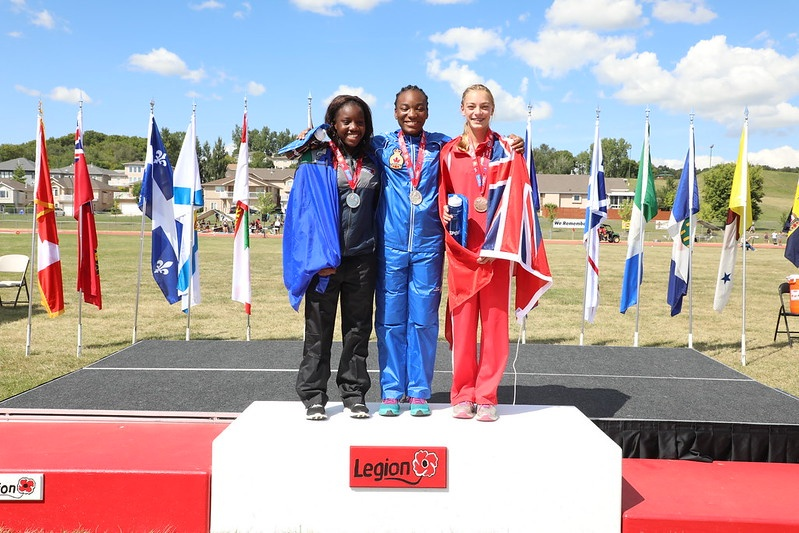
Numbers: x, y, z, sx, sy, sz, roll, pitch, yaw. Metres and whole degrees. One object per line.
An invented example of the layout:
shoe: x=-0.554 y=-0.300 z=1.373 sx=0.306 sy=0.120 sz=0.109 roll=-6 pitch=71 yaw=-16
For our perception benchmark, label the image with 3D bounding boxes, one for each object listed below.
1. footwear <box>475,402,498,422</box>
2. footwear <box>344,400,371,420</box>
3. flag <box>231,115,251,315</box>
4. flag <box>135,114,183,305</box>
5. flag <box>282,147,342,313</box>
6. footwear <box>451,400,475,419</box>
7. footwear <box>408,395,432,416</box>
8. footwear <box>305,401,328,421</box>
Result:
footwear: x=0.976 y=1.621 z=9.713 sx=0.267 sy=0.162 sz=0.238 roll=1 pitch=7 yaw=2
footwear: x=-0.505 y=1.590 z=9.696 sx=0.365 sy=0.179 sz=0.168 roll=5 pitch=8 yaw=31
flag: x=-2.595 y=-0.799 z=14.053 sx=0.276 sy=3.345 sz=1.081 roll=0 pitch=7 yaw=-11
flag: x=-3.828 y=-0.879 z=13.709 sx=0.620 sy=2.950 sz=0.404 roll=-3 pitch=8 yaw=-26
flag: x=-0.984 y=-0.418 z=9.710 sx=0.636 sy=1.816 sz=0.391 roll=0 pitch=7 yaw=-8
footwear: x=0.717 y=1.611 z=9.748 sx=0.247 sy=0.158 sz=0.235 roll=1 pitch=7 yaw=3
footwear: x=0.230 y=1.565 z=9.798 sx=0.242 sy=0.193 sz=0.268 roll=1 pitch=7 yaw=0
footwear: x=-0.925 y=1.616 z=9.617 sx=0.227 sy=0.162 sz=0.119 roll=0 pitch=7 yaw=-8
